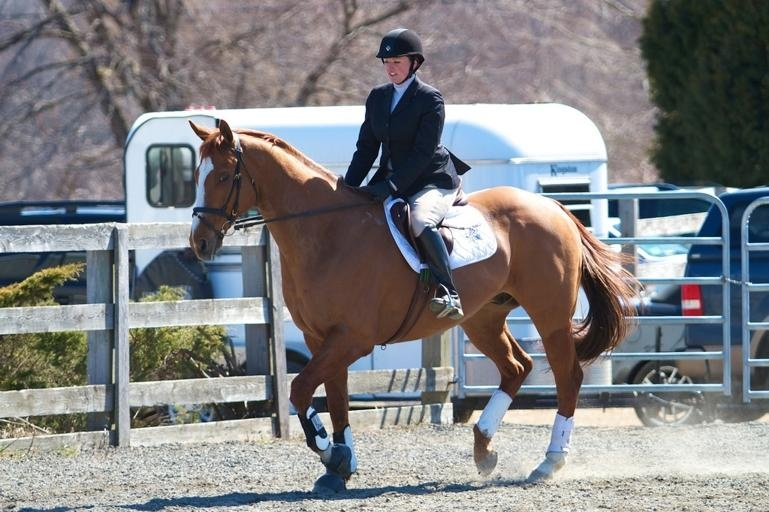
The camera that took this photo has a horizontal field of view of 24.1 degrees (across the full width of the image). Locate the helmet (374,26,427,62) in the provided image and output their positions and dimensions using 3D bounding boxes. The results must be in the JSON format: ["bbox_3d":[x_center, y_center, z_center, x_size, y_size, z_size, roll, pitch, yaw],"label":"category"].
[{"bbox_3d":[0.281,-3.505,30.235,0.582,0.377,0.517,-8,10,-28],"label":"helmet"}]
